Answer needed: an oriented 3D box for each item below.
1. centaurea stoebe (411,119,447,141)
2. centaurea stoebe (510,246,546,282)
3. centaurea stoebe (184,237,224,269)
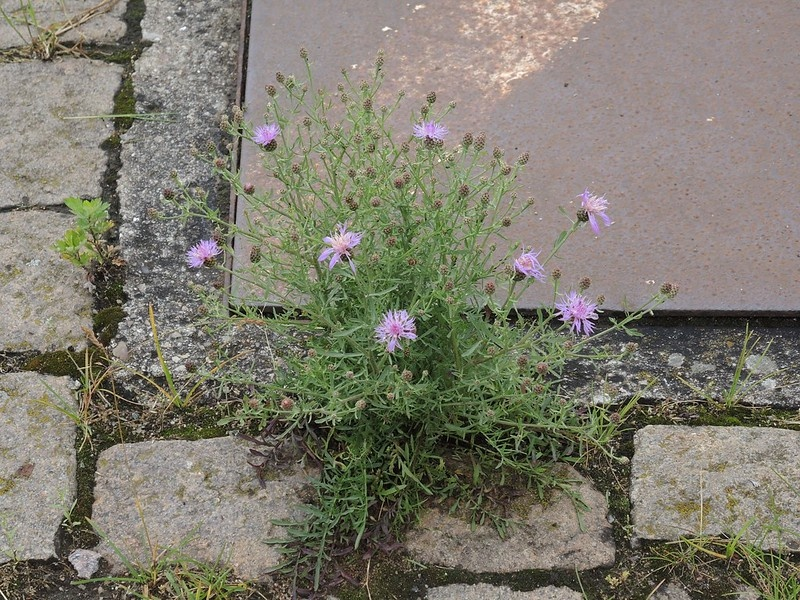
[{"bbox_3d":[0.099,-0.537,2.824,0.103,0.054,0.100,-4,27,-25],"label":"centaurea stoebe"},{"bbox_3d":[0.390,-0.092,2.689,0.119,0.057,0.115,6,49,-11],"label":"centaurea stoebe"},{"bbox_3d":[-0.668,-0.150,2.993,0.108,0.062,0.099,-38,37,-17],"label":"centaurea stoebe"}]
